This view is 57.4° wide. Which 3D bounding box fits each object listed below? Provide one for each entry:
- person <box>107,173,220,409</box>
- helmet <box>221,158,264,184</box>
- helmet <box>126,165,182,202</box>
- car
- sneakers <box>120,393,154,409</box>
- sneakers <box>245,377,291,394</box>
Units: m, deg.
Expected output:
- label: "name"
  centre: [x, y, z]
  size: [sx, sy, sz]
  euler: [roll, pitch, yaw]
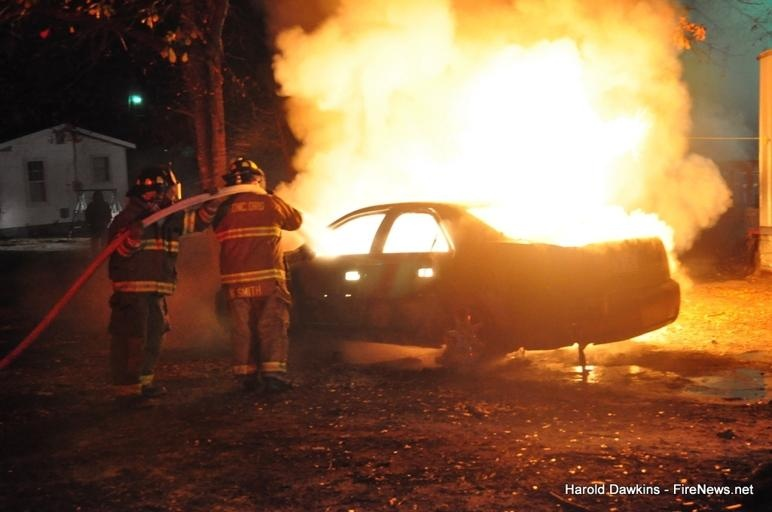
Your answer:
- label: "person"
  centre: [-2.383, 0.268, 6.939]
  size: [0.725, 2.245, 0.982]
  euler: [0, 10, 12]
- label: "helmet"
  centre: [-1.518, -0.924, 7.432]
  size: [0.328, 0.267, 0.337]
  euler: [-4, 2, -6]
- label: "helmet"
  centre: [-2.369, -0.740, 7.150]
  size: [0.487, 0.276, 0.336]
  euler: [-8, 11, -18]
- label: "car"
  centre: [0.589, 0.322, 8.200]
  size: [4.857, 1.309, 2.049]
  euler: [2, 4, 29]
- label: "sneakers"
  centre: [-2.385, 1.379, 6.675]
  size: [0.216, 0.069, 0.158]
  euler: [0, 4, -15]
- label: "sneakers"
  centre: [-1.209, 1.287, 7.118]
  size: [0.514, 0.195, 0.179]
  euler: [-1, 3, 7]
